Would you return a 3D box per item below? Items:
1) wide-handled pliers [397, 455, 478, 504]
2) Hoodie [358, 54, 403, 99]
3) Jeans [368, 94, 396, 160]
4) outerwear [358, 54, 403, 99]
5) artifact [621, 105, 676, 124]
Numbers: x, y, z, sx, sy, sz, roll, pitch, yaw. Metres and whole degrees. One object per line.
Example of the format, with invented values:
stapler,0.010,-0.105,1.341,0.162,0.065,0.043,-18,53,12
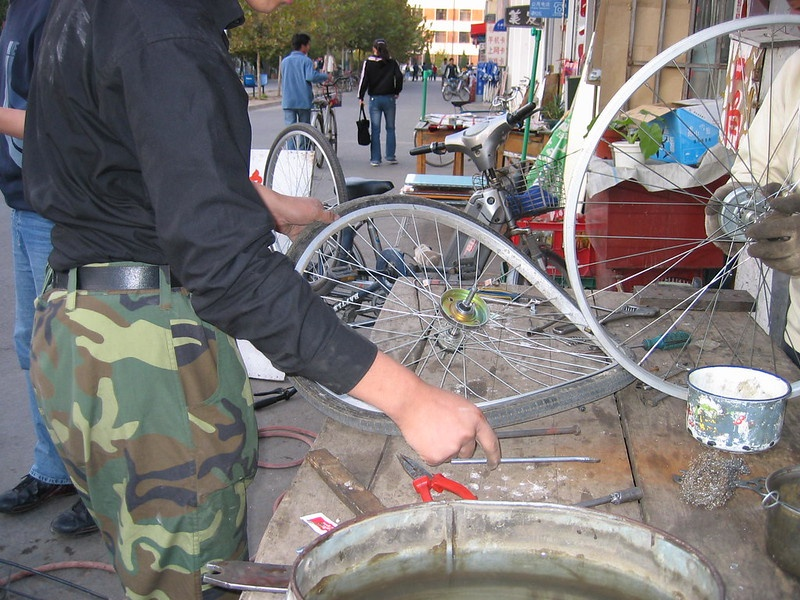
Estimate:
wide-handled pliers,0.110,0.488,1.909,0.217,0.116,0.169,-2,15,-25
Hoodie,-0.344,-3.769,11.511,0.712,0.769,0.407,-5,8,2
Jeans,-0.286,-2.904,11.671,0.444,0.385,1.401,-1,70,-5
outerwear,-0.348,-3.774,11.509,0.747,0.775,0.440,-4,13,4
artifact,1.412,-1.065,3.849,0.257,0.070,0.281,-15,29,-20
